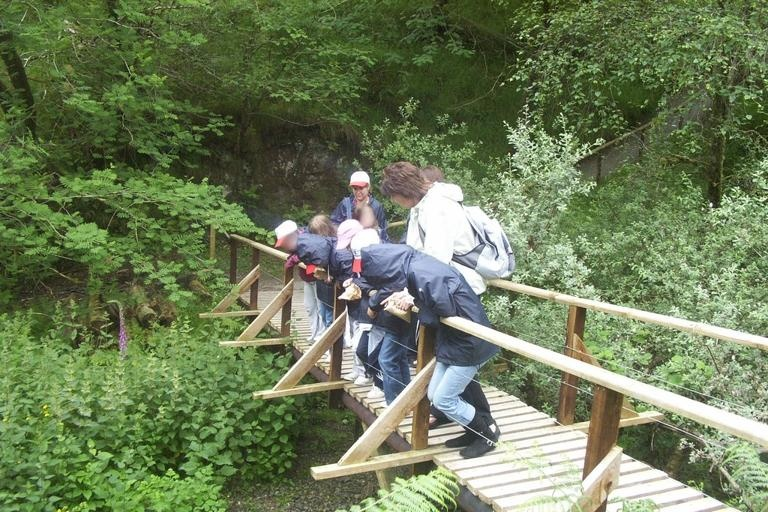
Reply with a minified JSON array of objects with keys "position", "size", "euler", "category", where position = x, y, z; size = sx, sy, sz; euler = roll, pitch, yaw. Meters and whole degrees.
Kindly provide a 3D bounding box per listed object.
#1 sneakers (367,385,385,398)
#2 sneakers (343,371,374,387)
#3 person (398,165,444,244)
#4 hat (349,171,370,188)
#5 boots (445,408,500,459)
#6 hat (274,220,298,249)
[{"position":[-0.090,1.532,7.736],"size":[0.106,0.087,0.198],"euler":[1,0,45],"category":"sneakers"},{"position":[-0.305,1.447,8.071],"size":[0.261,0.105,0.150],"euler":[10,1,9],"category":"sneakers"},{"position":[0.417,-0.612,7.762],"size":[0.615,0.830,0.316],"euler":[-1,21,-39],"category":"person"},{"position":[-0.286,-0.995,8.815],"size":[0.211,0.151,0.283],"euler":[-1,4,12],"category":"hat"},{"position":[0.864,1.721,6.920],"size":[0.562,0.546,0.299],"euler":[-7,24,3],"category":"boots"},{"position":[-1.185,-0.240,8.250],"size":[0.343,0.102,0.252],"euler":[-35,48,3],"category":"hat"}]
